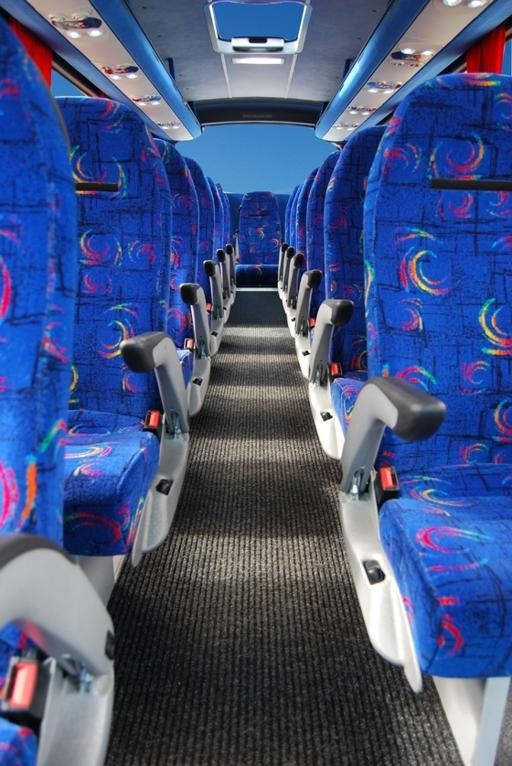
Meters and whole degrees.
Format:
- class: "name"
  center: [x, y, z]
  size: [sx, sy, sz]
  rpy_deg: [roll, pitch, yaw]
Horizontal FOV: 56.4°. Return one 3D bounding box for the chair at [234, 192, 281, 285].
- class: "chair"
  center: [0.036, -1.713, 5.873]
  size: [0.529, 1.137, 0.630]
  rpy_deg: [2, 9, 0]
